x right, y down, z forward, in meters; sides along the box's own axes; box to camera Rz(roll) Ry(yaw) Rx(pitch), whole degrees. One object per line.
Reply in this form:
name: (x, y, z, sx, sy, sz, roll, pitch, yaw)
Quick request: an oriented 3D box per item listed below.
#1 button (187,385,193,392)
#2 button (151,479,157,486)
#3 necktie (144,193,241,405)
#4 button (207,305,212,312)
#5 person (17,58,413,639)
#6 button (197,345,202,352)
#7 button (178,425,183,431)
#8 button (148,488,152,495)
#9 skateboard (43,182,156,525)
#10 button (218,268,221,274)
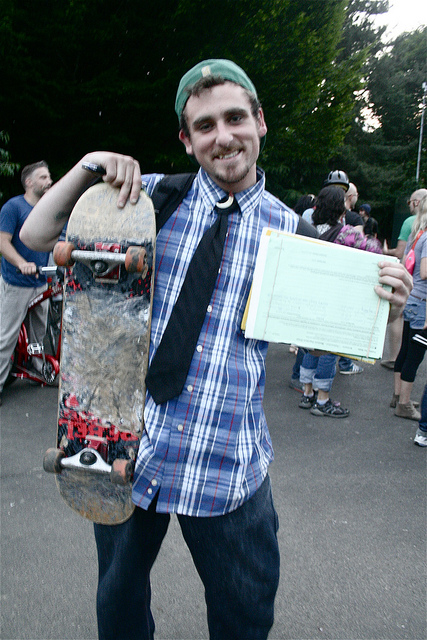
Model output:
button: (-0.060, 0.178, 1.418, 0.014, 0.018, 0.006, 2, 11, 2)
button: (-0.155, 0.425, 1.416, 0.017, 0.017, 0.003, 6, 12, 21)
necktie: (-0.069, -0.013, 1.499, 0.119, 0.761, 0.075, 18, -12, 0)
button: (-0.010, -0.034, 1.452, 0.009, 0.017, 0.003, 5, 5, 4)
person: (-0.041, 0.139, 1.574, 0.521, 1.693, 0.506, 5, 11, 17)
button: (-0.035, 0.073, 1.434, 0.012, 0.018, 0.005, 1, 11, -3)
button: (-0.085, 0.281, 1.407, 0.011, 0.013, 0.005, 0, 11, -6)
button: (-0.166, 0.450, 1.419, 0.012, 0.016, 0.005, 3, 11, 11)
skateboard: (-0.311, 0.109, 1.590, 0.321, 1.042, 0.136, -1, -7, 19)
button: (0.018, -0.139, 1.471, 0.004, 0.016, 0.002, 5, 18, 3)
